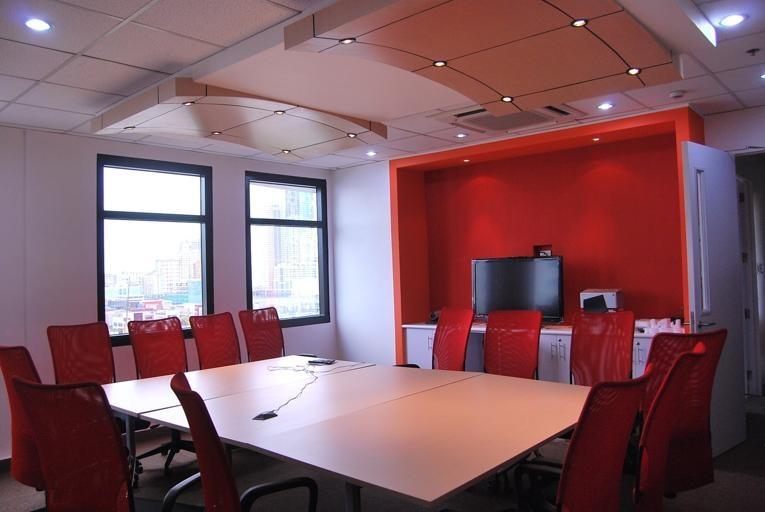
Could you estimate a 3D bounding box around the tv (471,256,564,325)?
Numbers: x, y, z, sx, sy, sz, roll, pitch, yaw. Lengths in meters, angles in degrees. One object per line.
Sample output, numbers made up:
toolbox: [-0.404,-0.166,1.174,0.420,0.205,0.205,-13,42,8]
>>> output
tv: [1.806,0.456,7.346,1.032,0.661,0.277,-1,0,30]

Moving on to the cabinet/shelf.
cabinet/shelf: [0.798,1.151,7.053,0.891,0.760,0.344,-5,-9,42]

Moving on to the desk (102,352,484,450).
desk: [-0.765,1.215,4.721,1.109,0.326,1.535,-4,-4,34]
